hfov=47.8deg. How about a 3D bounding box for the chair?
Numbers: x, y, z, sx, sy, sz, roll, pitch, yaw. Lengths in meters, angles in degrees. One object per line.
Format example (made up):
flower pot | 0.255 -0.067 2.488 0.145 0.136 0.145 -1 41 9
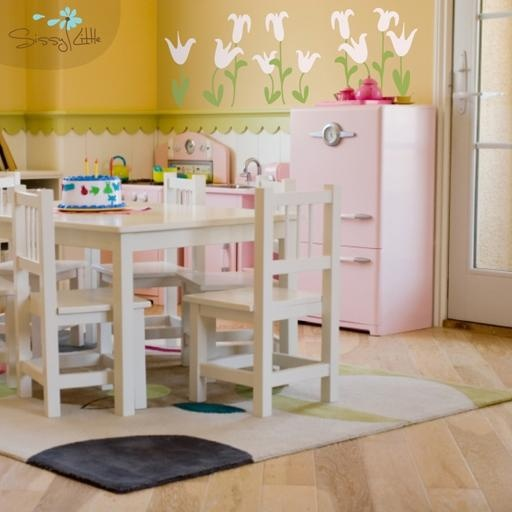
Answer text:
chair | -0.342 0.120 2.339 0.773 0.818 1.181 -4 5 -44

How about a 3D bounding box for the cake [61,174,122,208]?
cake | -0.719 -0.268 2.441 0.174 0.081 0.176 3 5 37
